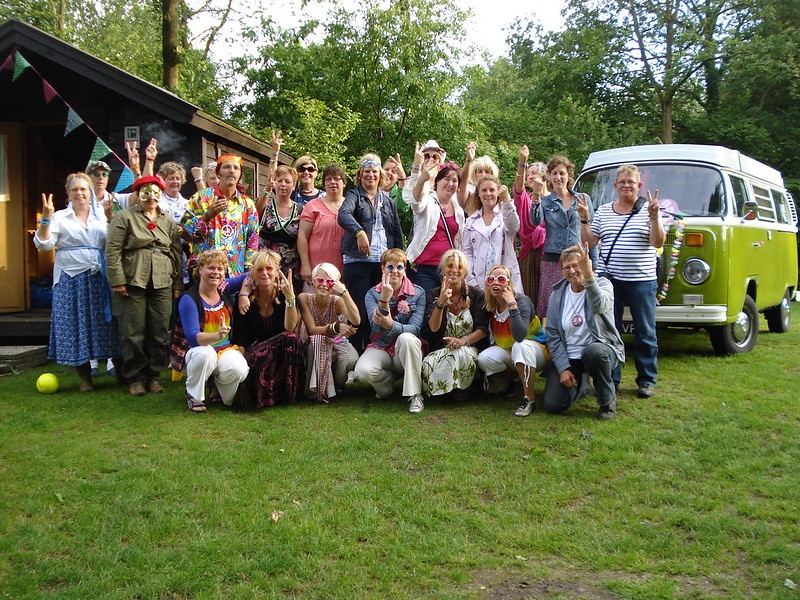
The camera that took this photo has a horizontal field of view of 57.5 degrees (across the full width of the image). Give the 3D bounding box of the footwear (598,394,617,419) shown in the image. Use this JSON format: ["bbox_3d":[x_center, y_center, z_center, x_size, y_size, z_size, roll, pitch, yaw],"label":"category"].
[{"bbox_3d":[2.105,1.131,7.564,0.117,0.223,0.309,-4,10,36],"label":"footwear"}]

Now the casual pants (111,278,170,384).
[{"bbox_3d":[-2.918,0.421,8.352,0.624,1.110,0.392,-1,-2,-22],"label":"casual pants"}]

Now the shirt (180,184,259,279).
[{"bbox_3d":[-2.067,-0.755,8.451,1.064,1.197,0.661,5,-6,-30],"label":"shirt"}]

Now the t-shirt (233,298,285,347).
[{"bbox_3d":[-1.572,0.256,8.082,0.481,0.454,0.266,-3,12,-14],"label":"t-shirt"}]

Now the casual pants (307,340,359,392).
[{"bbox_3d":[-0.769,0.763,8.181,0.462,0.642,0.315,6,-2,-2],"label":"casual pants"}]

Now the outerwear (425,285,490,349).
[{"bbox_3d":[0.643,0.220,8.342,0.864,0.921,0.647,-1,-11,8],"label":"outerwear"}]

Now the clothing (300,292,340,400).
[{"bbox_3d":[-0.897,0.554,8.184,0.423,1.114,0.262,-2,-2,-7],"label":"clothing"}]

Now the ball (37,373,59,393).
[{"bbox_3d":[-4.110,0.990,8.555,0.221,0.228,0.277,-1,-2,-27],"label":"ball"}]

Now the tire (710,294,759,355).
[{"bbox_3d":[4.514,0.365,9.903,0.817,0.825,0.304,3,0,-31],"label":"tire"}]

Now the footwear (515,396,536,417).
[{"bbox_3d":[1.319,1.133,7.727,0.146,0.207,0.331,-3,-2,33],"label":"footwear"}]

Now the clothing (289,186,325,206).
[{"bbox_3d":[-1.131,-1.260,8.916,0.388,0.216,0.306,-10,34,-7],"label":"clothing"}]

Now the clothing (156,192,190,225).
[{"bbox_3d":[-2.725,-1.075,8.763,0.257,0.449,0.463,-5,-3,43],"label":"clothing"}]

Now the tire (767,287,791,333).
[{"bbox_3d":[5.974,0.167,11.592,0.212,0.656,0.650,-3,-9,39],"label":"tire"}]

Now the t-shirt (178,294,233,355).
[{"bbox_3d":[-2.101,0.279,7.854,0.350,0.595,0.629,-4,-3,34],"label":"t-shirt"}]

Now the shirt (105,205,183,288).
[{"bbox_3d":[-2.890,-0.593,8.375,0.857,0.929,0.487,0,6,-42],"label":"shirt"}]

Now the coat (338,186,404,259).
[{"bbox_3d":[-0.358,-0.856,8.402,0.833,0.813,0.516,2,-9,-24],"label":"coat"}]

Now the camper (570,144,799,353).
[{"bbox_3d":[4.205,-0.753,10.689,2.282,2.288,4.208,-3,-4,34],"label":"camper"}]

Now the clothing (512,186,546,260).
[{"bbox_3d":[1.524,-0.908,8.597,0.292,0.480,0.772,8,-42,20],"label":"clothing"}]

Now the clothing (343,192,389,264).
[{"bbox_3d":[-0.304,-0.941,8.526,0.547,0.749,0.406,-2,2,-14],"label":"clothing"}]

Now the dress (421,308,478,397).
[{"bbox_3d":[0.538,0.570,7.989,0.588,0.922,0.248,-2,-2,6],"label":"dress"}]

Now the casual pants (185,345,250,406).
[{"bbox_3d":[-2.006,0.806,8.010,0.582,0.680,0.729,10,-8,-18],"label":"casual pants"}]

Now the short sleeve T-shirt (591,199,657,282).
[{"bbox_3d":[2.452,-0.612,7.952,0.828,1.007,0.572,-4,-7,33],"label":"short sleeve T-shirt"}]

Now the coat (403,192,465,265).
[{"bbox_3d":[0.301,-0.884,8.522,0.385,0.689,0.574,16,16,18],"label":"coat"}]

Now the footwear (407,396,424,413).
[{"bbox_3d":[0.173,1.125,7.881,0.164,0.182,0.259,-2,-2,0],"label":"footwear"}]

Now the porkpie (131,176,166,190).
[{"bbox_3d":[-2.859,-1.319,8.284,0.235,0.103,0.230,-11,5,-6],"label":"porkpie"}]

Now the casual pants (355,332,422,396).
[{"bbox_3d":[-0.035,0.675,8.216,0.722,0.905,0.689,0,-1,10],"label":"casual pants"}]
